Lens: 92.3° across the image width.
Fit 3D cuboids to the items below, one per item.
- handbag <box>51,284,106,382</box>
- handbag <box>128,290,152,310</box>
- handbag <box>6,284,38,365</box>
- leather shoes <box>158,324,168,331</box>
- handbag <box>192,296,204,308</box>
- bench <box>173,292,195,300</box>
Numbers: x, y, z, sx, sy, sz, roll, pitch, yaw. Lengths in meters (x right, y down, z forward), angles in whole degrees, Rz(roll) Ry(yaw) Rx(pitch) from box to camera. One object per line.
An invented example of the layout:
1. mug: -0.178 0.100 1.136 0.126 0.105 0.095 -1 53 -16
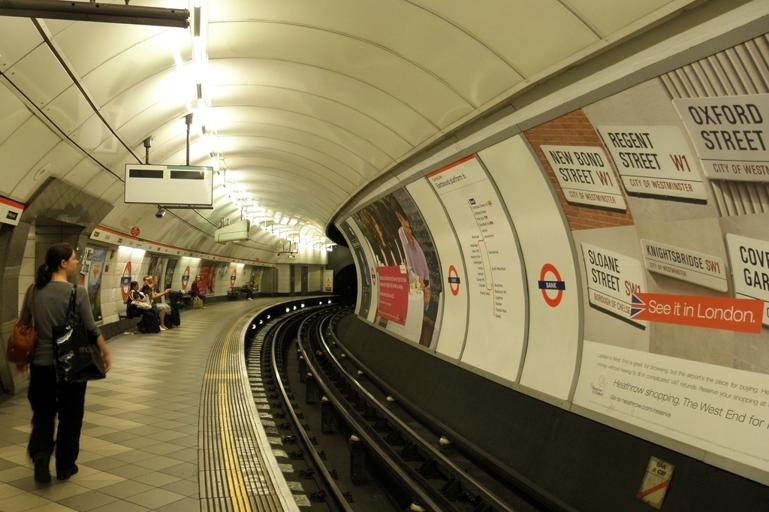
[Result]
1. handbag: -3.608 0.713 4.482 0.548 0.991 0.280 8 -8 -32
2. handbag: -9.585 1.093 14.798 0.518 0.255 0.716 18 6 -15
3. handbag: -4.238 0.604 4.433 0.231 0.860 0.424 11 -10 -43
4. leather shoes: -9.758 2.325 16.695 0.218 0.232 0.594 0 -1 -36
5. handbag: -13.000 2.080 26.323 0.715 0.761 0.564 8 -8 -32
6. bench: -12.853 1.600 23.975 0.729 0.360 1.045 5 4 33
